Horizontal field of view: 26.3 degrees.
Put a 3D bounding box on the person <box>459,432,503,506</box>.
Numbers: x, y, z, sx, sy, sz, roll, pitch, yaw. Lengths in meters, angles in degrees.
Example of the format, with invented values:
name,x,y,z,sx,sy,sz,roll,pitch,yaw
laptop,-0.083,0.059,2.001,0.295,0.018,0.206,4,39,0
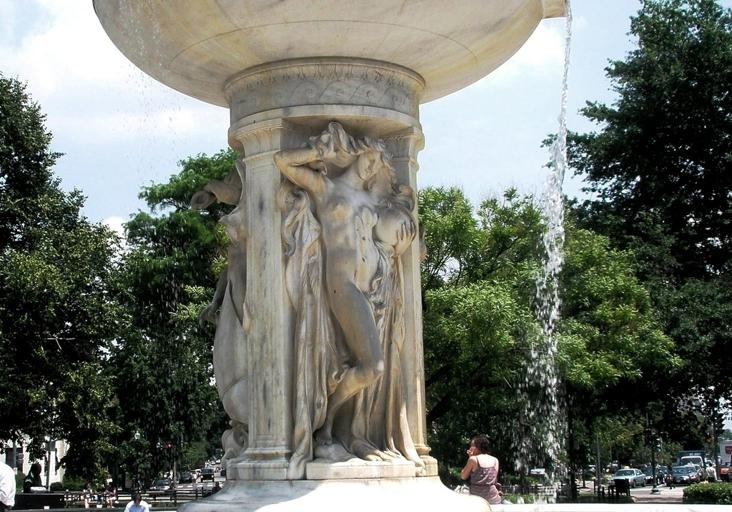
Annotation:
name,x,y,z,sx,sy,sz,roll,pitch,yaw
person,3.411,6.426,47.136,1.045,2.147,1.222,-5,-15,3
